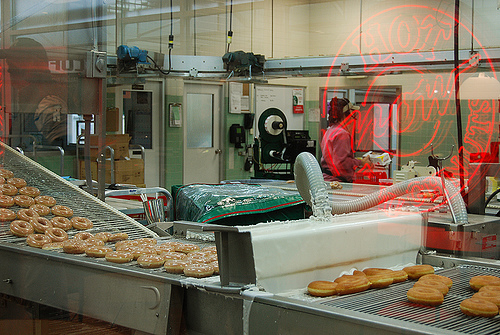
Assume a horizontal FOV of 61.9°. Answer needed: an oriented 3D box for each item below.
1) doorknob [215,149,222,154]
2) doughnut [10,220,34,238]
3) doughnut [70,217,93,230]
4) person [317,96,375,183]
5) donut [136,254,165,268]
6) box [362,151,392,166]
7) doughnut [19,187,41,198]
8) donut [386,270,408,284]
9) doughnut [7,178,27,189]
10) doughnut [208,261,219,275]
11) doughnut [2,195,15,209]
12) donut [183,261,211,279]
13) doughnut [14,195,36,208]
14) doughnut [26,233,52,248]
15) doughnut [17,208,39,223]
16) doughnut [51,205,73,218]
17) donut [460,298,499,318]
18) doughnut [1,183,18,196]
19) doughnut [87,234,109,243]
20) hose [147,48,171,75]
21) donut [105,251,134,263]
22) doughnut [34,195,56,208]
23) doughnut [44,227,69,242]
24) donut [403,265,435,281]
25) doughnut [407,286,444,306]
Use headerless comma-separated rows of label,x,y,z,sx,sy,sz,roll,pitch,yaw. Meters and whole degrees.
doorknob,-0.598,-0.307,7.794,0.127,0.057,0.088,0,0,-42
doughnut,-1.262,0.338,2.326,0.134,0.068,0.132,-1,6,-1
doughnut,-0.993,0.326,2.495,0.080,0.027,0.082,21,16,35
person,0.900,-0.200,3.900,0.559,0.863,0.483,-1,8,-24
donut,-0.431,0.401,1.811,0.108,0.030,0.145,-3,6,-20
box,1.226,-0.090,4.066,0.165,0.089,0.206,-8,8,-42
doughnut,-1.436,0.157,2.744,0.078,0.026,0.076,15,10,33
donut,0.609,0.447,1.735,0.054,0.020,0.058,1,5,38
doughnut,-1.567,0.102,2.820,0.079,0.026,0.078,11,15,-40
doughnut,-0.146,0.402,1.703,0.057,0.020,0.057,-1,2,-5
doughnut,-1.493,0.210,2.589,0.064,0.071,0.091,-4,6,-28
donut,-0.201,0.405,1.668,0.110,0.032,0.145,1,6,14
doughnut,-1.414,0.213,2.633,0.145,0.063,0.093,3,7,31
doughnut,-1.095,0.376,2.172,0.069,0.024,0.070,1,15,-40
doughnut,-1.315,0.278,2.460,0.083,0.028,0.080,25,20,27
doughnut,-1.161,0.271,2.589,0.083,0.029,0.086,6,14,-26
donut,0.761,0.456,1.401,0.071,0.025,0.072,-2,2,-6
doughnut,-1.543,0.142,2.680,0.079,0.027,0.082,23,14,-14
doughnut,-0.831,0.388,2.302,0.056,0.018,0.055,0,1,-14
hose,-1.041,-1.247,5.000,0.290,0.297,0.092,-28,17,-25
donut,-0.580,0.399,1.855,0.119,0.034,0.114,0,6,9
doughnut,-1.304,0.206,2.670,0.088,0.029,0.086,11,10,18
doughnut,-1.062,0.366,2.291,0.082,0.028,0.080,6,23,-40
donut,0.720,0.440,1.787,0.070,0.025,0.073,-3,4,45
doughnut,0.619,0.446,1.489,0.071,0.024,0.070,-1,3,-27
